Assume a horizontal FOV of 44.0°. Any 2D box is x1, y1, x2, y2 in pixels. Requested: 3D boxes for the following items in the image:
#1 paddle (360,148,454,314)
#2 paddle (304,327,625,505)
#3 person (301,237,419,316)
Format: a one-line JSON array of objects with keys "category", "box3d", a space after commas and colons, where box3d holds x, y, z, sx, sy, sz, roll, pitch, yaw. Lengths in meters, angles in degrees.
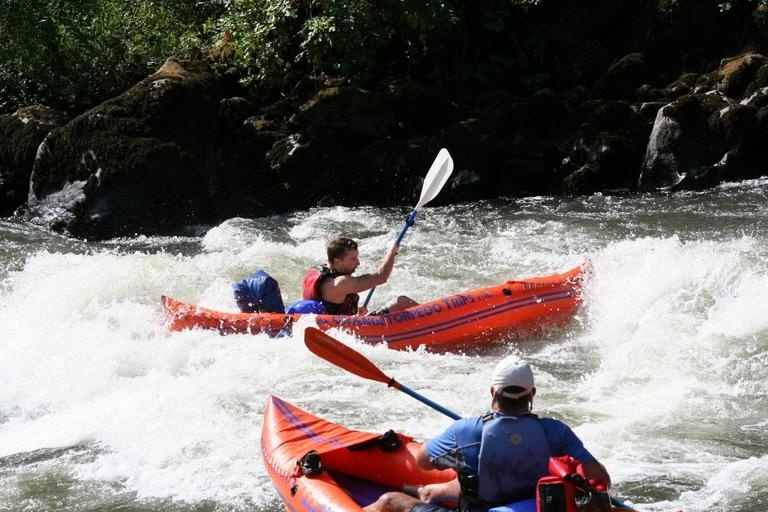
[{"category": "paddle", "box3d": [0.411, -0.374, 16.478, 0.423, 3.626, 0.257, 37, 12, 25]}, {"category": "paddle", "box3d": [0.902, 1.982, 11.491, 3.543, 0.397, 0.196, 32, 24, 18]}, {"category": "person", "box3d": [-0.202, 0.289, 13.475, 1.638, 1.133, 0.886, -9, 22, -25]}]
